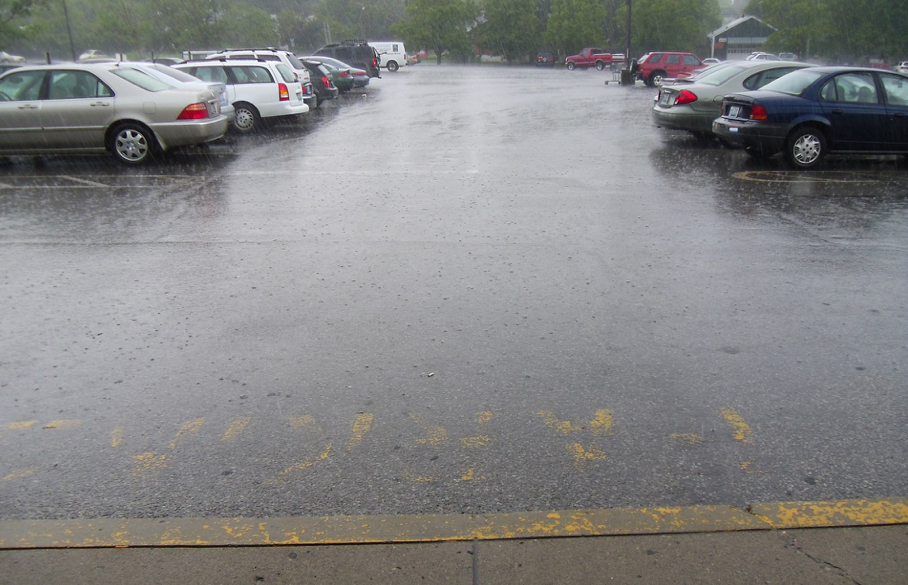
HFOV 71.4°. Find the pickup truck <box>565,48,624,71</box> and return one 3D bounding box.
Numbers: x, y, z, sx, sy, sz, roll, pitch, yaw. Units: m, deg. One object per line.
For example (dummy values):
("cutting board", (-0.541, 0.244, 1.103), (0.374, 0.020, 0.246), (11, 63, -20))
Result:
("pickup truck", (14.945, -25.370, 68.439), (4.848, 1.992, 5.569), (-16, 26, -25))
